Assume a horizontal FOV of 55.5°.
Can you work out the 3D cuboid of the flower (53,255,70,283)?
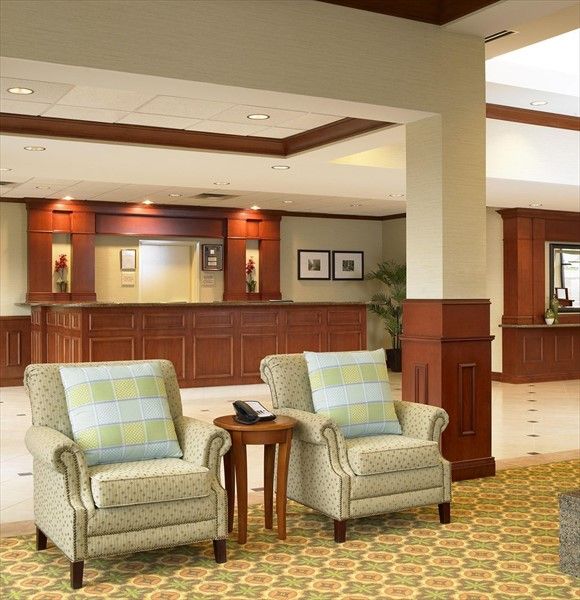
[{"bbox_3d":[-4.304,-0.598,10.445,0.256,0.562,0.131,1,-4,-17],"label":"flower"}]

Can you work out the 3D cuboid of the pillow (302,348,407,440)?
[{"bbox_3d":[0.368,0.570,3.502,0.715,0.543,0.340,4,4,-39],"label":"pillow"}]

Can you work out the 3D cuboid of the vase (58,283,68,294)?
[{"bbox_3d":[-4.239,-0.221,10.373,0.151,0.204,0.097,2,-4,-26],"label":"vase"}]

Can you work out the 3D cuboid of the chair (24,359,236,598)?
[{"bbox_3d":[-0.809,0.808,2.750,0.856,0.951,0.816,2,-4,-29],"label":"chair"}]

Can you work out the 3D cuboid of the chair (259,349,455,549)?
[{"bbox_3d":[0.368,0.825,3.447,0.933,0.778,1.017,2,1,-30],"label":"chair"}]

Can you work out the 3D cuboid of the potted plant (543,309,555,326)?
[{"bbox_3d":[4.695,0.328,10.067,0.258,0.303,0.145,3,-5,-41],"label":"potted plant"}]

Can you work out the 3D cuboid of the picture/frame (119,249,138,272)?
[{"bbox_3d":[-3.216,-0.793,11.036,0.323,0.462,0.091,1,-4,-14],"label":"picture/frame"}]

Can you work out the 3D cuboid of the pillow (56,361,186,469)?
[{"bbox_3d":[-0.865,0.556,2.771,0.620,0.493,0.165,-4,-32,-37],"label":"pillow"}]

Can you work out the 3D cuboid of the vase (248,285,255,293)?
[{"bbox_3d":[-0.829,-0.231,11.813,0.155,0.168,0.147,1,0,-34],"label":"vase"}]
